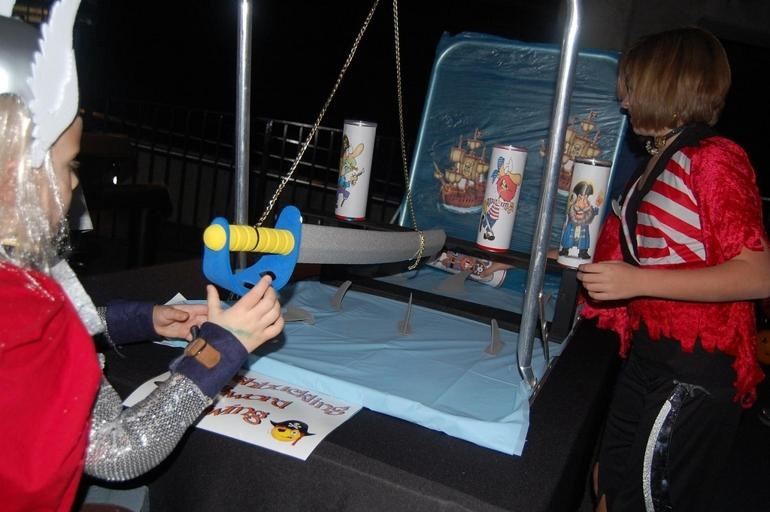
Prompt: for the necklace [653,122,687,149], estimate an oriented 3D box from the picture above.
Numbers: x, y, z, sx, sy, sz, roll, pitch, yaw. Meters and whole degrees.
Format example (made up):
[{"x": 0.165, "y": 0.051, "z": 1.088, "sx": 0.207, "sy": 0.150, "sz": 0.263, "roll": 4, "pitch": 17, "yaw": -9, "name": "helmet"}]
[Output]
[{"x": 0.714, "y": -0.301, "z": 1.264, "sx": 0.072, "sy": 0.037, "sz": 0.069, "roll": -11, "pitch": 5, "yaw": 34, "name": "necklace"}]
